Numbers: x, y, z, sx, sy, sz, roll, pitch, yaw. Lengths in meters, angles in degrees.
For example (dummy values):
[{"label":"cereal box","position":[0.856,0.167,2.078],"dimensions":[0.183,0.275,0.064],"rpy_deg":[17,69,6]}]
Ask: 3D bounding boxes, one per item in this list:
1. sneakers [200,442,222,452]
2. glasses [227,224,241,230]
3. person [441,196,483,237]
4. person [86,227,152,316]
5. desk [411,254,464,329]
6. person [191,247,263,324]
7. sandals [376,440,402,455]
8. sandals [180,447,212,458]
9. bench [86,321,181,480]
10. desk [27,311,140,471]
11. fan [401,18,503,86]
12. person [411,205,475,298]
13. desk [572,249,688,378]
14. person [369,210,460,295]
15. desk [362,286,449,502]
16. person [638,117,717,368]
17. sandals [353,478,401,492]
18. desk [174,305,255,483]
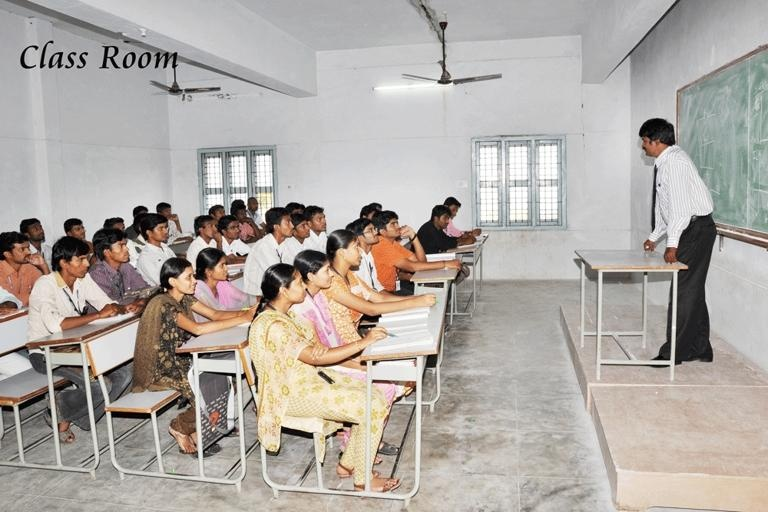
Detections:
[{"label":"sneakers","position":[-1.370,1.537,4.142],"dimensions":[0.094,0.045,0.133],"rpy_deg":[0,2,-1]},{"label":"glasses","position":[-1.950,-0.385,6.762],"dimensions":[0.075,0.098,0.199],"rpy_deg":[1,13,14]},{"label":"person","position":[1.151,-0.631,8.401],"dimensions":[0.834,0.857,0.570],"rpy_deg":[-1,6,11]},{"label":"person","position":[-2.516,0.148,5.037],"dimensions":[0.613,0.758,0.570],"rpy_deg":[11,11,22]},{"label":"desk","position":[0.514,0.337,5.184],"dimensions":[0.313,0.441,0.902],"rpy_deg":[-1,8,9]},{"label":"person","position":[-1.409,0.226,4.685],"dimensions":[0.618,0.718,0.595],"rpy_deg":[0,9,-3]},{"label":"sandals","position":[0.037,1.486,4.027],"dimensions":[0.192,0.071,0.128],"rpy_deg":[3,11,19]},{"label":"sandals","position":[-1.506,1.541,4.117],"dimensions":[0.244,0.090,0.088],"rpy_deg":[1,2,7]},{"label":"bench","position":[-1.932,1.085,3.983],"dimensions":[0.432,0.769,1.128],"rpy_deg":[-1,2,-4]},{"label":"desk","position":[-2.349,1.035,4.063],"dimensions":[0.439,0.999,1.126],"rpy_deg":[2,3,10]},{"label":"fan","position":[1.102,-3.096,8.648],"dimensions":[1.374,0.887,1.327],"rpy_deg":[-13,14,-43]},{"label":"person","position":[0.760,-0.259,7.202],"dimensions":[1.032,1.668,0.762],"rpy_deg":[-4,12,-2]},{"label":"desk","position":[2.496,0.604,5.261],"dimensions":[0.609,0.800,1.234],"rpy_deg":[1,5,10]},{"label":"person","position":[0.288,-0.098,5.810],"dimensions":[1.027,1.043,0.728],"rpy_deg":[-4,10,9]},{"label":"desk","position":[0.148,1.048,3.840],"dimensions":[0.397,0.756,1.382],"rpy_deg":[1,3,11]},{"label":"person","position":[2.659,-0.107,4.567],"dimensions":[0.713,2.153,0.669],"rpy_deg":[-2,13,-1]},{"label":"sandals","position":[-0.042,1.558,3.603],"dimensions":[0.242,0.065,0.116],"rpy_deg":[-5,10,0]},{"label":"desk","position":[-1.292,1.032,3.907],"dimensions":[0.483,1.096,1.255],"rpy_deg":[0,0,2]}]
